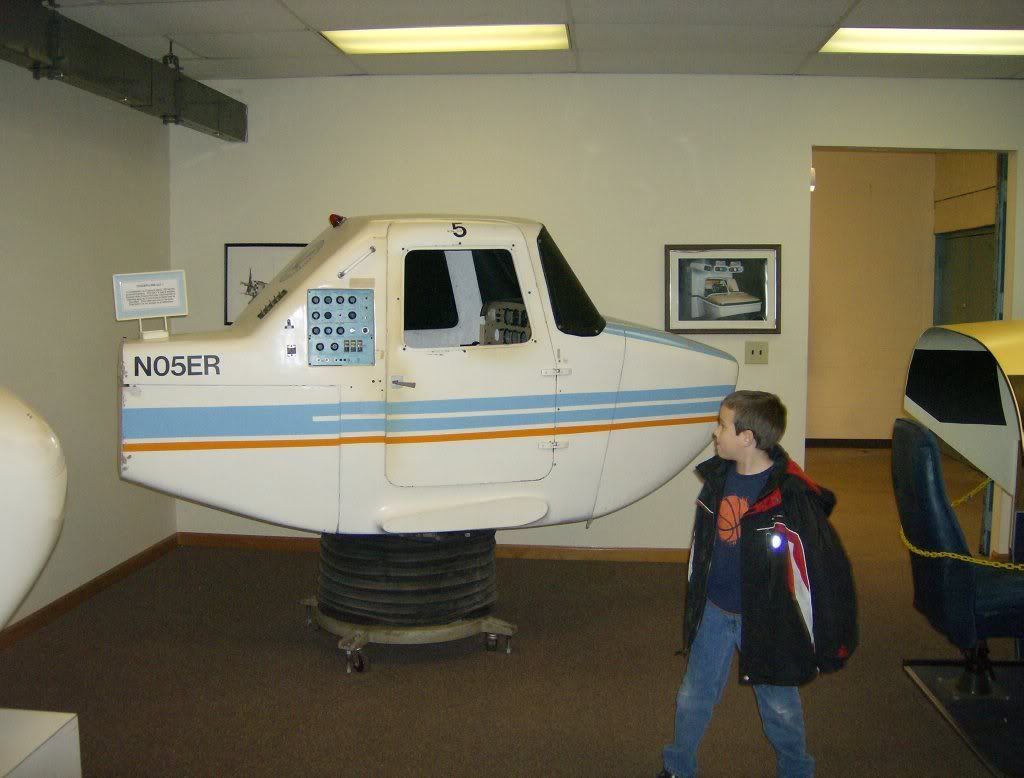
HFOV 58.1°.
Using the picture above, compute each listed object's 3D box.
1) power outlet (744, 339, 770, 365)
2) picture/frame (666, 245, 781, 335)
[{"bbox_3d":[1.564,-0.231,5.885,0.130,0.137,0.141,0,3,10],"label":"power outlet"},{"bbox_3d":[1.363,-0.652,5.871,0.580,0.484,0.021,0,0,2],"label":"picture/frame"}]
